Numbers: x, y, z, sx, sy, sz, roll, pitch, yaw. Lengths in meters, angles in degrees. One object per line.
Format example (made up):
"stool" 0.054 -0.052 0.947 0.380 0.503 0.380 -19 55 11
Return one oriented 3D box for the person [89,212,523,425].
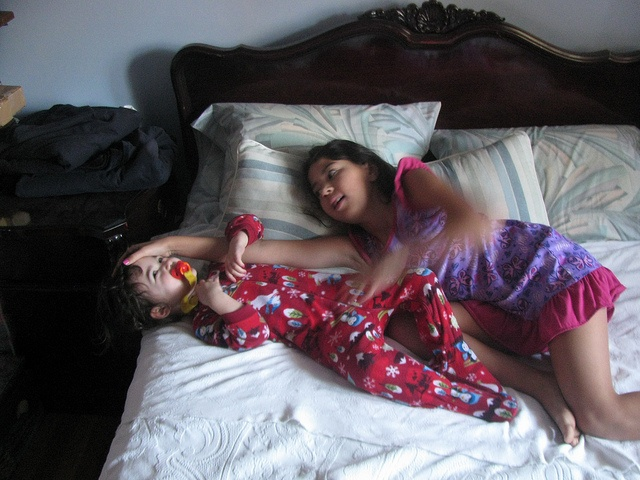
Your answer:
"person" -0.104 0.332 1.685 1.347 0.466 0.546 6 39 7
